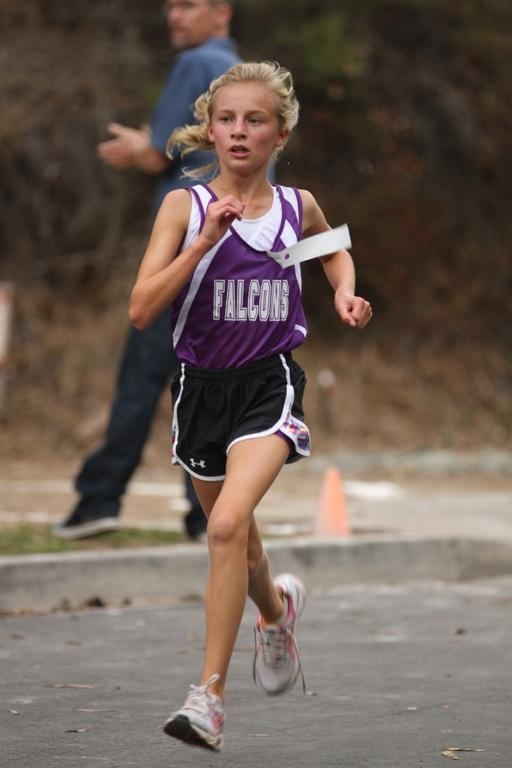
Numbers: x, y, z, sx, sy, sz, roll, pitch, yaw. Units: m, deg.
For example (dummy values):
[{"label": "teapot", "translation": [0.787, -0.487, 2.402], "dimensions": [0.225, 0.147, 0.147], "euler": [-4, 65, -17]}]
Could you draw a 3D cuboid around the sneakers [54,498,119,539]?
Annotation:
[{"label": "sneakers", "translation": [-0.811, 0.654, 4.743], "dimensions": [0.367, 0.125, 0.121], "euler": [-16, 18, -41]}]

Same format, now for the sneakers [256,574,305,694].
[{"label": "sneakers", "translation": [0.071, 0.689, 2.681], "dimensions": [0.144, 0.295, 0.141], "euler": [-5, -2, 7]}]

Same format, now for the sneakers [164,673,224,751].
[{"label": "sneakers", "translation": [-0.111, 0.661, 1.920], "dimensions": [0.082, 0.175, 0.114], "euler": [13, 74, 23]}]
